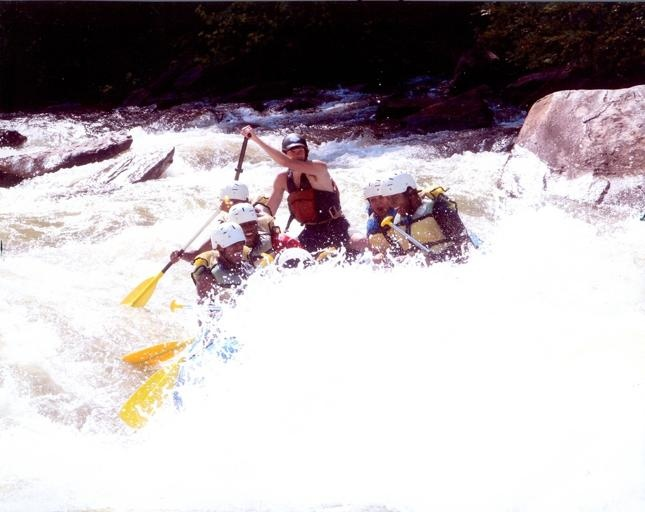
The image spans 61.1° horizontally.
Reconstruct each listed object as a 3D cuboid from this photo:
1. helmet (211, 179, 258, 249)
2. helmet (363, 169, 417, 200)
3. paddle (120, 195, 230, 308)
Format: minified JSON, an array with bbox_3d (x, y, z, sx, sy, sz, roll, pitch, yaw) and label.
[{"bbox_3d":[-0.876,-0.428,5.311,0.474,0.559,0.576,0,2,0],"label":"helmet"},{"bbox_3d":[0.547,-0.570,4.421,0.324,0.110,0.223,-14,-1,-18],"label":"helmet"},{"bbox_3d":[-1.617,-0.019,5.766,1.619,0.290,0.072,-40,-13,4],"label":"paddle"}]
